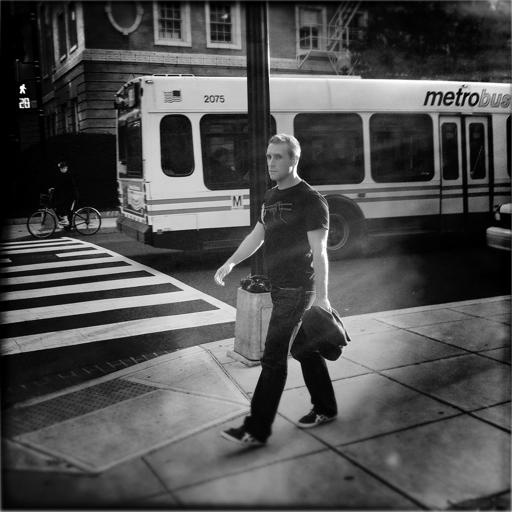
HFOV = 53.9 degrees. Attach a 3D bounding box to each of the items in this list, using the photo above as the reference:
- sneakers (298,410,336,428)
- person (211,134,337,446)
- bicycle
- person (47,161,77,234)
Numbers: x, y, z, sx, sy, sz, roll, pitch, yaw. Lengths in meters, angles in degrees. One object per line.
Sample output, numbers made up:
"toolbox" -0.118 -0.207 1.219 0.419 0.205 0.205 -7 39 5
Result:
"sneakers" 0.421 1.120 3.522 0.275 0.130 0.099 2 -4 -24
"person" 0.171 0.198 3.355 0.753 1.968 0.730 1 8 10
"bicycle" -5.786 -1.303 15.116 2.033 1.552 0.976 -4 12 -26
"person" -5.911 -1.827 15.241 0.664 2.000 1.398 -5 9 -28
